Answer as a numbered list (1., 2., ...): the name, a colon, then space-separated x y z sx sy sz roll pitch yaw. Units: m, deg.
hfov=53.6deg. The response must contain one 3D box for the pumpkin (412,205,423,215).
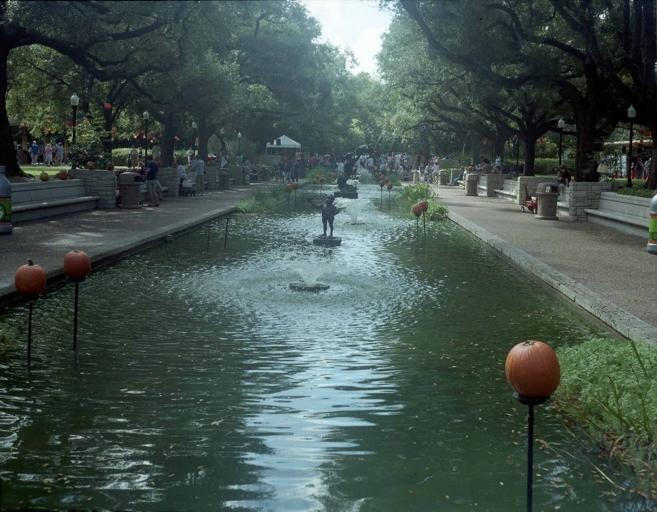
1. pumpkin: 2.808 -1.454 20.627 0.304 0.312 0.320 7 15 36

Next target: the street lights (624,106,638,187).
1. street lights: 13.713 -4.856 29.683 0.716 4.061 0.661 0 6 17

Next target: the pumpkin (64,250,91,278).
1. pumpkin: -3.009 0.066 7.871 0.309 0.375 0.311 7 6 2

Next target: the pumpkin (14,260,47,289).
1. pumpkin: -3.324 0.187 7.225 0.321 0.387 0.315 -2 4 -9

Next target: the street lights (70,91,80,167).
1. street lights: -11.258 -5.540 28.813 0.533 3.223 0.518 3 10 2

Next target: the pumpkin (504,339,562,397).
1. pumpkin: 1.395 0.773 4.452 0.352 0.377 0.354 -12 7 -7

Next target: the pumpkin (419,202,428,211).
1. pumpkin: 2.999 -1.617 20.696 0.266 0.319 0.265 -8 22 -20
